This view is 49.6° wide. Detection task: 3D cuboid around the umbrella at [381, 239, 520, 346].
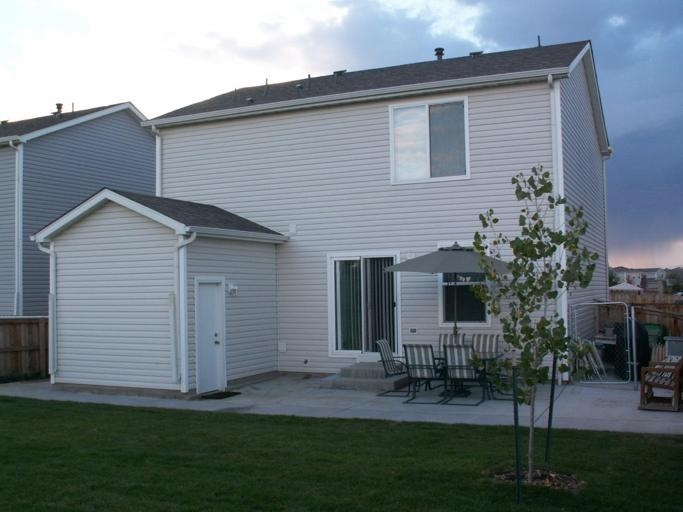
[{"bbox_3d":[2.550,0.741,17.311,2.922,1.431,2.510,-2,0,11],"label":"umbrella"}]
